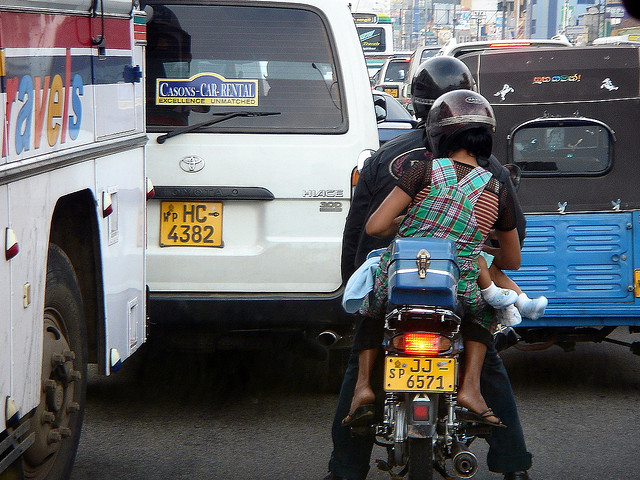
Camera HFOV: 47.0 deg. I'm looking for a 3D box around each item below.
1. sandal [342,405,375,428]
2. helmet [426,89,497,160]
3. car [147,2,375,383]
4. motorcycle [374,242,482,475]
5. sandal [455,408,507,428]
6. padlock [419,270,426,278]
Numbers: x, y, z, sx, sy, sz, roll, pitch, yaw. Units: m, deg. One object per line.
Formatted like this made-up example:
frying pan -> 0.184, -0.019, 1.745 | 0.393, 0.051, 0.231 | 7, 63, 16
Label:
sandal -> 0.176, 0.793, 3.304 | 0.071, 0.069, 0.182 | 3, -20, -30
helmet -> 0.639, -0.532, 3.340 | 0.300, 0.319, 0.197 | 1, 9, 8
car -> -0.522, -0.396, 4.734 | 1.437, 1.415, 2.399 | 0, 6, 5
motorcycle -> 0.487, 0.535, 3.216 | 0.487, 1.109, 0.506 | 1, 9, 4
sandal -> 0.712, 0.783, 3.241 | 0.201, 0.067, 0.063 | 10, 1, -12
padlock -> 0.405, 0.134, 2.922 | 0.020, 0.028, 0.015 | 1, 9, 3
